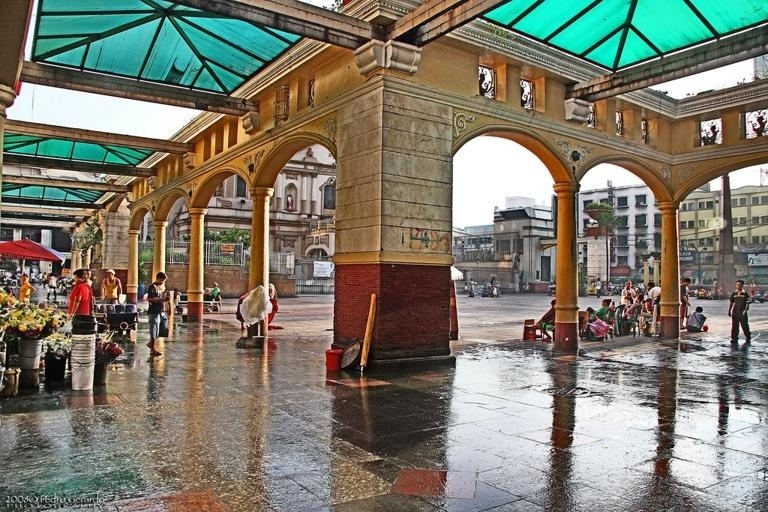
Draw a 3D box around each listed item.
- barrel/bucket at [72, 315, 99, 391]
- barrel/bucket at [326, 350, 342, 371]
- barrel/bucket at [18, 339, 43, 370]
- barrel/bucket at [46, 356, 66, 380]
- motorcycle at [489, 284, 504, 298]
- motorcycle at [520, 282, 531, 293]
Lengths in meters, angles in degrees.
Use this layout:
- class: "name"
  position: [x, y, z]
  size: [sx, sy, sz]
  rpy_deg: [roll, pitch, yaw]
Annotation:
- class: "barrel/bucket"
  position: [-5.870, 1.863, 11.730]
  size: [0.428, 1.420, 0.454]
  rpy_deg: [0, -3, 0]
- class: "barrel/bucket"
  position: [-1.209, 2.427, 14.168]
  size: [0.419, 0.372, 0.434]
  rpy_deg: [-1, -5, 0]
- class: "barrel/bucket"
  position: [-6.877, 1.879, 11.682]
  size: [0.359, 0.583, 0.200]
  rpy_deg: [1, -3, -23]
- class: "barrel/bucket"
  position: [-6.658, 2.226, 12.177]
  size: [0.388, 0.532, 0.279]
  rpy_deg: [1, -3, -20]
- class: "motorcycle"
  position: [10.167, 3.087, 55.049]
  size: [1.225, 0.760, 0.778]
  rpy_deg: [-1, 1, 9]
- class: "motorcycle"
  position: [15.001, 3.272, 64.133]
  size: [0.723, 0.994, 1.101]
  rpy_deg: [5, -15, 8]
